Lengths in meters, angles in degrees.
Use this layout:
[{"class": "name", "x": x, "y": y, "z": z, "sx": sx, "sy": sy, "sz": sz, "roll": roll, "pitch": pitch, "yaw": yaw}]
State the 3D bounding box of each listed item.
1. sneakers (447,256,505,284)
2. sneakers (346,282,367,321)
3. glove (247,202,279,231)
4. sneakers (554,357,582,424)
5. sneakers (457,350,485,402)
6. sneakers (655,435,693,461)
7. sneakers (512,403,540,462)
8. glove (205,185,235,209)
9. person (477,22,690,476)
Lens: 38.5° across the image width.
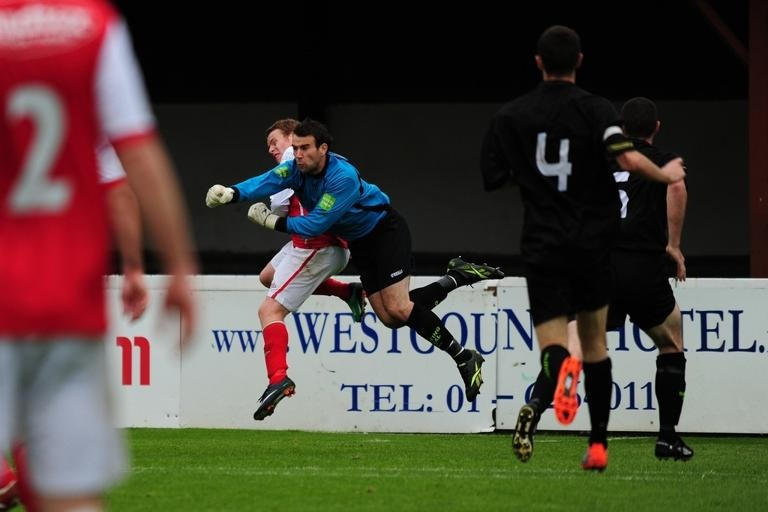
[{"class": "sneakers", "x": 0.624, "y": 0.084, "z": 8.121, "sx": 0.476, "sy": 0.176, "sz": 0.237, "roll": -1, "pitch": -48, "yaw": -9}, {"class": "sneakers", "x": -0.215, "y": 0.326, "z": 8.204, "sx": 0.104, "sy": 0.315, "sz": 0.126, "roll": -7, "pitch": -3, "yaw": 2}, {"class": "glove", "x": -0.841, "y": -0.276, "z": 7.642, "sx": 0.158, "sy": 0.095, "sz": 0.227, "roll": -35, "pitch": 43, "yaw": -29}, {"class": "sneakers", "x": 0.968, "y": 0.716, "z": 5.880, "sx": 0.139, "sy": 0.356, "sz": 0.157, "roll": 8, "pitch": -8, "yaw": 7}, {"class": "sneakers", "x": 0.594, "y": 0.812, "z": 7.732, "sx": 0.217, "sy": 0.422, "sz": 0.133, "roll": 4, "pitch": -7, "yaw": -19}, {"class": "sneakers", "x": 1.790, "y": 1.194, "z": 6.851, "sx": 0.308, "sy": 0.156, "sz": 0.108, "roll": 3, "pitch": 3, "yaw": -28}, {"class": "sneakers", "x": 0.754, "y": 0.947, "z": 5.920, "sx": 0.117, "sy": 0.345, "sz": 0.149, "roll": 6, "pitch": -7, "yaw": 10}, {"class": "glove", "x": -1.101, "y": -0.414, "z": 7.397, "sx": 0.178, "sy": 0.144, "sz": 0.200, "roll": 1, "pitch": -5, "yaw": -8}, {"class": "person", "x": 0.971, "y": -0.076, "z": 5.982, "sx": 0.852, "sy": 2.360, "sz": 0.512, "roll": 1, "pitch": -5, "yaw": -2}]
